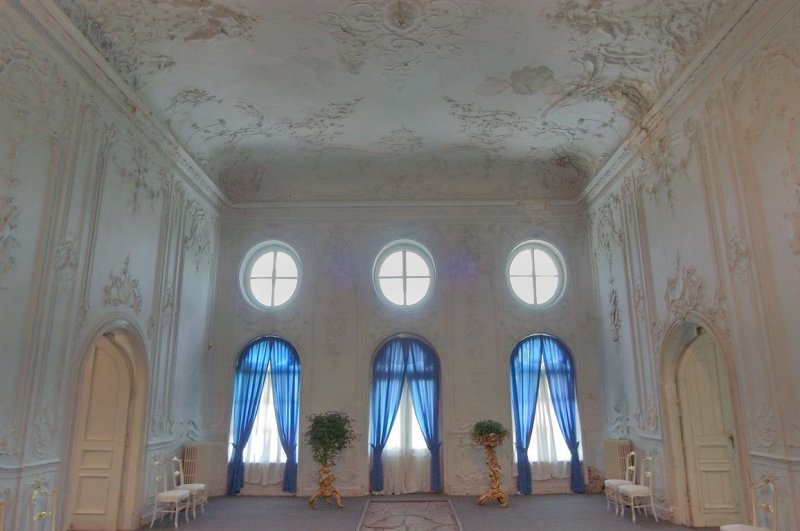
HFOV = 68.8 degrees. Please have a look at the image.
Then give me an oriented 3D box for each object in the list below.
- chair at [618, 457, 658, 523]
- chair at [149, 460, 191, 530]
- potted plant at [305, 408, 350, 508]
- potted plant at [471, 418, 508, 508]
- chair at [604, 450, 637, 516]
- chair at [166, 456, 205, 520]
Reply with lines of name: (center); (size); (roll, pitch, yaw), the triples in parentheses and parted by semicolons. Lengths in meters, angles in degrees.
chair: (4.694, 4.421, 11.666); (0.719, 1.161, 0.782); (-5, -15, 31)
chair: (-4.627, 4.525, 11.776); (0.738, 1.136, 1.296); (2, -5, -20)
potted plant: (-1.621, 4.338, 13.177); (1.010, 1.976, 1.124); (0, -5, -1)
potted plant: (2.022, 4.381, 13.115); (0.759, 1.790, 1.052); (-1, -5, 10)
chair: (4.604, 4.452, 12.085); (0.544, 1.230, 0.629); (0, -11, 3)
chair: (-4.404, 4.640, 12.399); (0.720, 1.248, 0.781); (-16, -14, 22)
